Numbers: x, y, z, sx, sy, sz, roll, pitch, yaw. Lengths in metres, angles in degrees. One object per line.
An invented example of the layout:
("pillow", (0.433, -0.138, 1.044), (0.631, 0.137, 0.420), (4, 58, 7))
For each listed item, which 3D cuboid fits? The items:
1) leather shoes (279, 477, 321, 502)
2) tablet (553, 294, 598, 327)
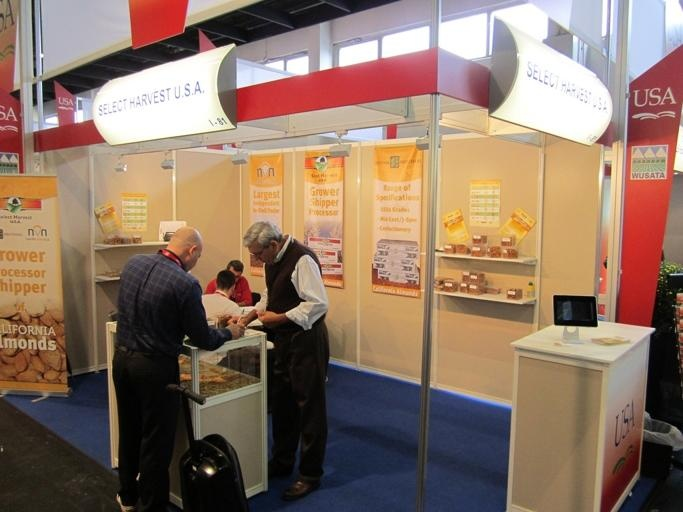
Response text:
("leather shoes", (-0.336, 1.877, 4.216), (0.107, 0.128, 0.291), (-6, -12, 43))
("tablet", (1.785, 0.420, 4.057), (0.389, 0.291, 0.216), (1, 1, -5))
